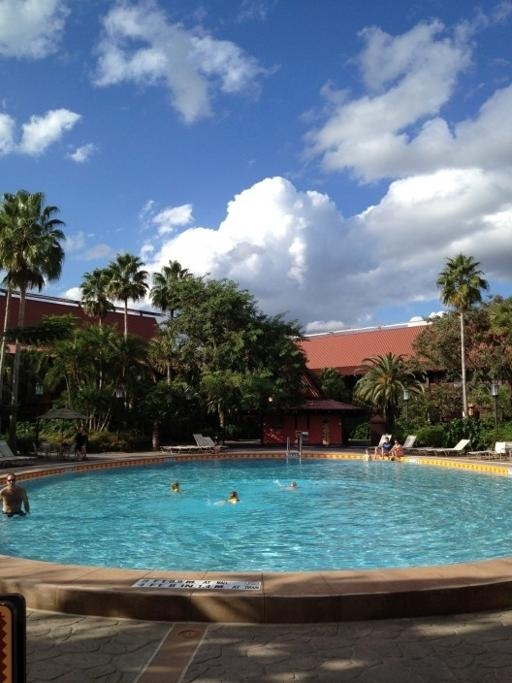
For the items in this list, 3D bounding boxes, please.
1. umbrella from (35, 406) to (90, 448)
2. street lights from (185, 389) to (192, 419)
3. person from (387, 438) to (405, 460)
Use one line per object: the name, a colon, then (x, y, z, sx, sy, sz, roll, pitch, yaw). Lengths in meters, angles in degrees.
umbrella: (-10.648, 4.793, 26.496, 2.489, 1.858, 2.057, 0, -3, 14)
street lights: (-4.610, 4.094, 32.127, 0.605, 1.929, 0.292, 10, -17, -31)
person: (6.884, 5.523, 24.154, 0.751, 1.018, 1.235, -2, -15, 13)
